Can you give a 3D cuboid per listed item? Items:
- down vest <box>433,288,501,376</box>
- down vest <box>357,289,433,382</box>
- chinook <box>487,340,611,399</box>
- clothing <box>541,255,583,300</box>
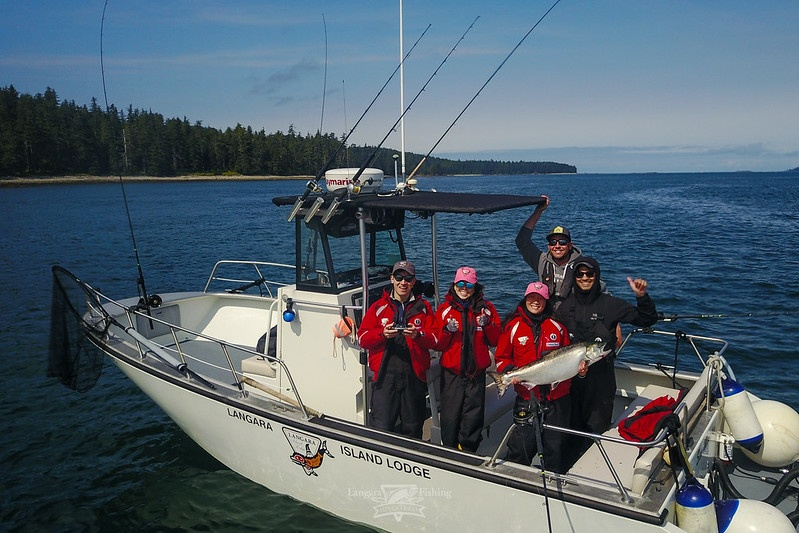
[{"bbox_3d":[0.992,0.920,9.649,0.828,1.304,0.806,0,-1,0],"label":"down vest"},{"bbox_3d":[-0.012,1.046,9.593,1.219,1.228,0.820,3,6,-1],"label":"down vest"},{"bbox_3d":[2.061,1.370,8.880,1.781,0.495,0.343,-15,5,-14],"label":"chinook"},{"bbox_3d":[2.461,0.175,9.838,0.559,0.759,0.462,15,17,42],"label":"clothing"}]
